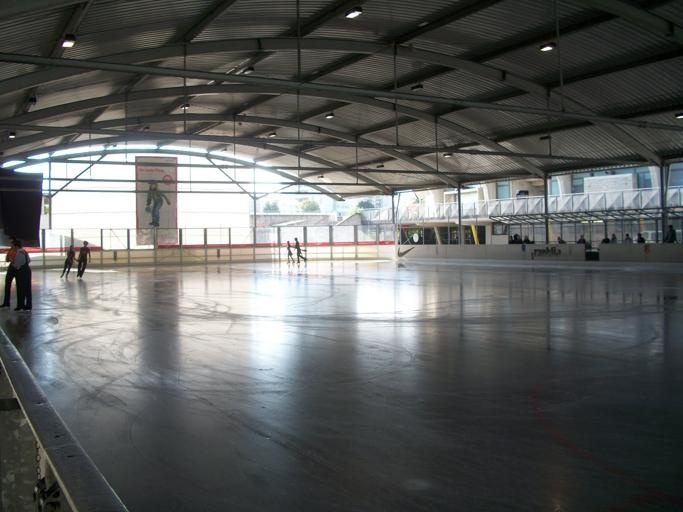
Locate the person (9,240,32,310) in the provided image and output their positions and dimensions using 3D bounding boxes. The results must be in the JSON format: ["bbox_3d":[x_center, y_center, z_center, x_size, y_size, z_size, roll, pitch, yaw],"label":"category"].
[{"bbox_3d":[-7.690,0.445,12.982,0.354,1.683,0.651,-4,4,-30],"label":"person"}]

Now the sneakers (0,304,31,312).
[{"bbox_3d":[-7.924,1.259,13.139,0.540,0.171,0.156,-6,-11,27],"label":"sneakers"}]

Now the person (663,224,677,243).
[{"bbox_3d":[17.785,-1.218,29.179,0.569,1.003,2.120,0,3,29],"label":"person"}]
